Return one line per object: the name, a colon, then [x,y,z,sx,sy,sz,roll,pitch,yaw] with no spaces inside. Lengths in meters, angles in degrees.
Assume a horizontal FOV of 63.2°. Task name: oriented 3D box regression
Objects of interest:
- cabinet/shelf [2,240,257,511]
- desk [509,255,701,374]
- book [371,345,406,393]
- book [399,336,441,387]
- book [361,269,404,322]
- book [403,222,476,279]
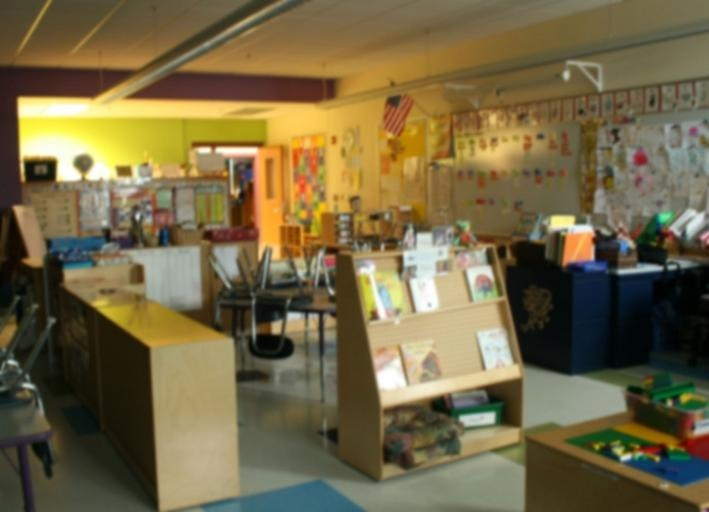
cabinet/shelf: [-1.763,1.036,4.821,0.608,1.139,2.417,-9,13,-39]
desk: [2.732,0.711,6.773,2.116,1.306,1.129,2,0,-30]
book: [0.263,0.826,4.267,0.238,0.287,0.133,-7,11,-29]
book: [0.504,0.801,4.383,0.305,0.284,0.140,-7,11,-29]
book: [0.180,0.299,4.373,0.384,0.357,0.088,-6,-8,-38]
book: [0.692,-0.053,4.641,0.231,0.372,0.801,8,13,43]
